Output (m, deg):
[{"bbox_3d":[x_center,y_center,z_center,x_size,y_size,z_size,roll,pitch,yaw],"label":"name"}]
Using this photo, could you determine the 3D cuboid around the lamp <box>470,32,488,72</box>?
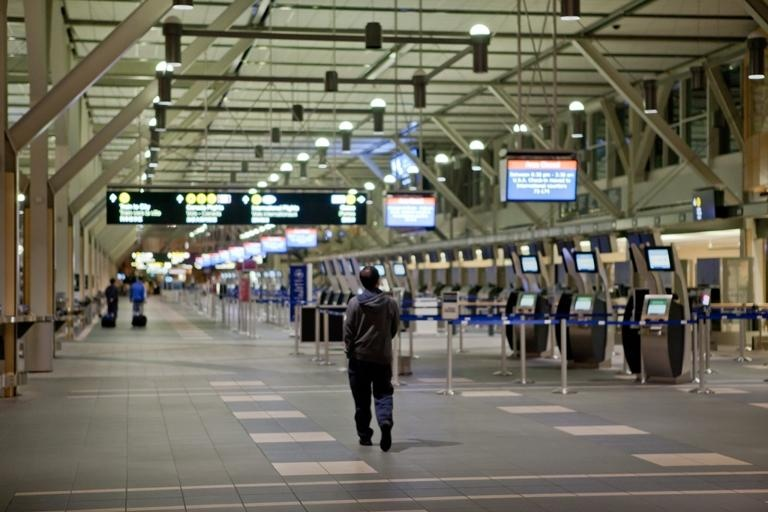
[{"bbox_3d":[1.796,-3.859,15.071,0.327,0.865,0.480,-1,-3,8],"label":"lamp"}]

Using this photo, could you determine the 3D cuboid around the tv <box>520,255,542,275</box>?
[{"bbox_3d":[3.649,0.240,20.234,0.348,0.506,0.836,0,-3,-17],"label":"tv"}]

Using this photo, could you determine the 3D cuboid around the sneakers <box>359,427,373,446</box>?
[{"bbox_3d":[-0.240,2.332,10.423,0.185,0.245,0.151,0,-3,-3],"label":"sneakers"}]

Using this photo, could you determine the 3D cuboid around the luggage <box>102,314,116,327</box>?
[{"bbox_3d":[-11.312,2.680,32.812,0.531,0.562,0.553,2,-6,-8],"label":"luggage"}]

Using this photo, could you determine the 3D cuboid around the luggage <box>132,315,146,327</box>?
[{"bbox_3d":[-10.082,2.678,33.073,0.385,0.360,0.714,1,1,-14],"label":"luggage"}]

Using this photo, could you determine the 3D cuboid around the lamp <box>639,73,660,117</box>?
[{"bbox_3d":[6.966,-4.214,21.009,0.312,0.860,0.674,-1,-3,14],"label":"lamp"}]

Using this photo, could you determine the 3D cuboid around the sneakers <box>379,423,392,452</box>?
[{"bbox_3d":[0.019,2.272,10.099,0.120,0.375,0.142,2,2,-6],"label":"sneakers"}]

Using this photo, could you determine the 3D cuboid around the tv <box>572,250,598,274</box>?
[{"bbox_3d":[4.618,0.145,18.567,0.125,0.479,0.671,2,-4,-43],"label":"tv"}]

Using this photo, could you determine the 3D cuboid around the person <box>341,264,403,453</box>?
[{"bbox_3d":[-0.177,1.298,10.506,0.709,2.344,0.869,-1,-3,2],"label":"person"}]

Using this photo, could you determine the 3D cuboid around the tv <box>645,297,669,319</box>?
[{"bbox_3d":[5.221,1.007,15.307,0.197,0.366,0.362,15,-13,-34],"label":"tv"}]

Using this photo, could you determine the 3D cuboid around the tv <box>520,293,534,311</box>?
[{"bbox_3d":[3.207,1.048,18.026,0.377,0.368,0.335,-1,-3,18],"label":"tv"}]

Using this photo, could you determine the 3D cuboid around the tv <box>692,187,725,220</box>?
[{"bbox_3d":[9.474,-1.499,23.366,0.516,0.994,0.738,9,-14,-26],"label":"tv"}]

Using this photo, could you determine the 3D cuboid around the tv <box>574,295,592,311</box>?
[{"bbox_3d":[4.295,1.050,17.363,0.393,0.404,0.291,-1,-13,13],"label":"tv"}]
